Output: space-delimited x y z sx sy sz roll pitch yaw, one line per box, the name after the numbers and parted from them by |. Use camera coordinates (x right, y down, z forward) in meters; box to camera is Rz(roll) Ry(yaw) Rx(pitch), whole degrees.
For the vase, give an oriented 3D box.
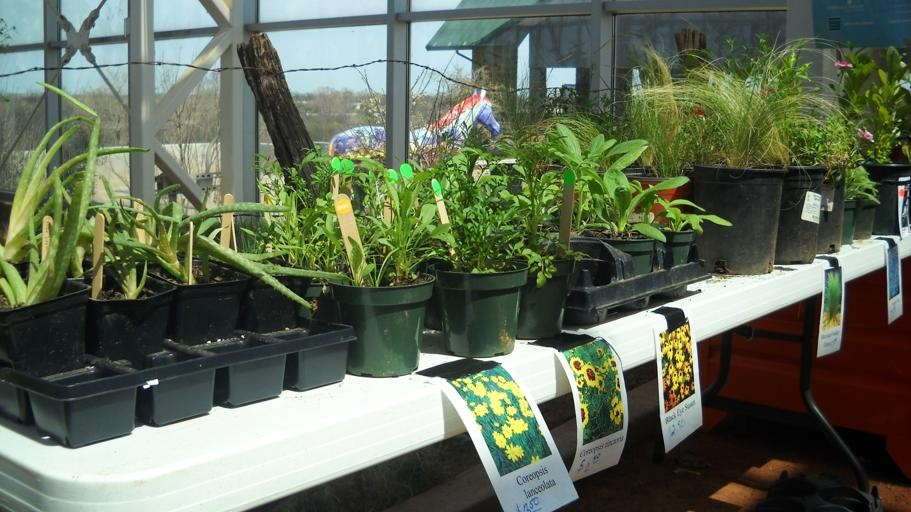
1.170 -0.138 2.798 0.414 0.365 0.399 -2 -3 42 | vase
